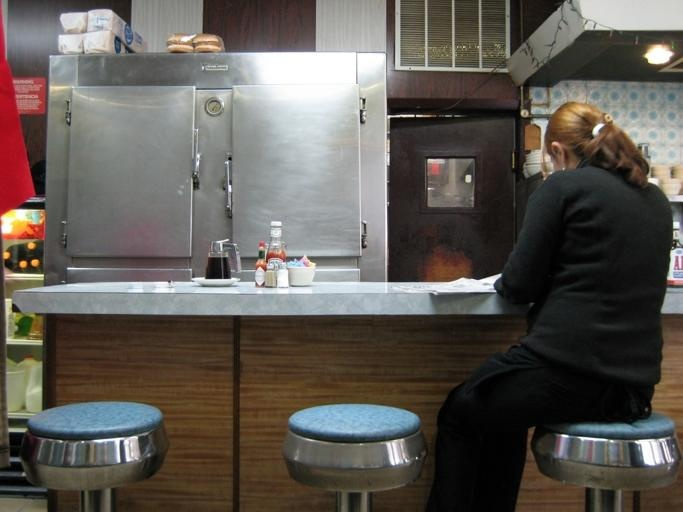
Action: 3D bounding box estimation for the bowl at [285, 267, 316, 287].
[{"bbox_3d":[-0.173,0.091,2.978,0.090,0.059,0.093,0,1,0],"label":"bowl"}]

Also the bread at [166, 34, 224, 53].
[{"bbox_3d":[-0.936,-1.359,4.362,0.193,0.069,0.194,-1,6,-1],"label":"bread"}]

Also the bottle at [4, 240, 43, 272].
[{"bbox_3d":[-2.051,-0.003,4.312,0.198,0.182,0.107,-1,6,-7],"label":"bottle"}]
